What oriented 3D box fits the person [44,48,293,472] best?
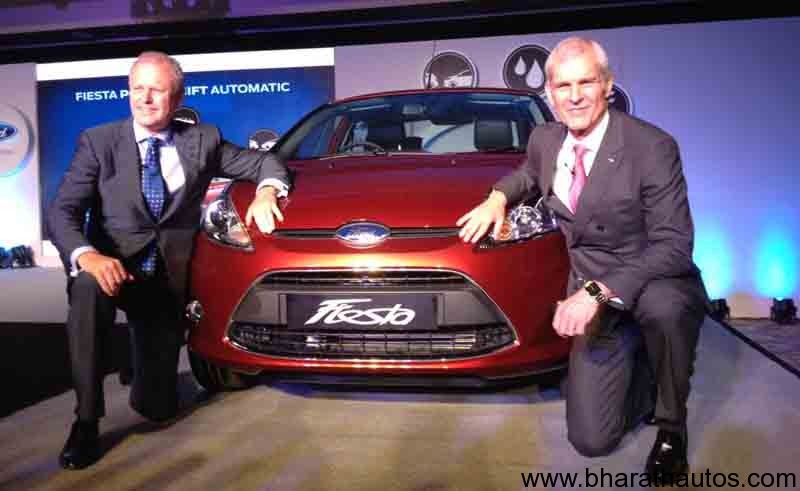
[{"bbox_3d":[-1.206,0.000,2.745,1.151,1.814,1.244,8,9,21],"label":"person"}]

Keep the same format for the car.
[{"bbox_3d":[-0.040,-0.164,3.157,1.396,1.069,2.334,-1,2,10],"label":"car"}]

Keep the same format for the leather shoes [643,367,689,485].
[{"bbox_3d":[1.161,0.830,2.387,0.126,0.356,0.149,8,-31,24],"label":"leather shoes"}]

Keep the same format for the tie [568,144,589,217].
[{"bbox_3d":[0.778,-0.297,2.395,0.072,0.284,0.058,-2,-11,32],"label":"tie"}]

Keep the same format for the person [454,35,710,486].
[{"bbox_3d":[0.876,0.040,2.446,0.885,1.880,0.516,5,12,29],"label":"person"}]
